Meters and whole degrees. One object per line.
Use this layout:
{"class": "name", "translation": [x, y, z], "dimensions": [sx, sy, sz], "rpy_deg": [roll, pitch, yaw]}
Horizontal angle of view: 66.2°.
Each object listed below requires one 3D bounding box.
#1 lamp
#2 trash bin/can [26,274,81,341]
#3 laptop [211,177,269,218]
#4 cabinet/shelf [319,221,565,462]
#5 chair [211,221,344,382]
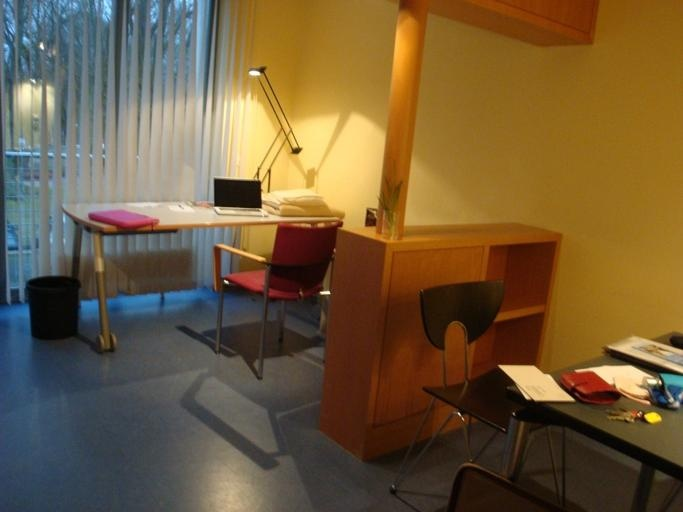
{"class": "lamp", "translation": [-0.619, -1.162, 4.875], "dimensions": [0.495, 1.120, 0.238], "rpy_deg": [-7, 16, -35]}
{"class": "trash bin/can", "translation": [-1.962, 0.323, 3.726], "dimensions": [0.384, 0.474, 0.400], "rpy_deg": [0, 13, -15]}
{"class": "laptop", "translation": [-0.816, -0.481, 4.177], "dimensions": [0.407, 0.327, 0.304], "rpy_deg": [1, -3, -21]}
{"class": "cabinet/shelf", "translation": [0.630, 0.426, 3.125], "dimensions": [1.291, 1.236, 0.420], "rpy_deg": [-3, 16, -31]}
{"class": "chair", "translation": [-0.429, 0.248, 3.599], "dimensions": [0.677, 1.066, 0.710], "rpy_deg": [14, 15, 36]}
